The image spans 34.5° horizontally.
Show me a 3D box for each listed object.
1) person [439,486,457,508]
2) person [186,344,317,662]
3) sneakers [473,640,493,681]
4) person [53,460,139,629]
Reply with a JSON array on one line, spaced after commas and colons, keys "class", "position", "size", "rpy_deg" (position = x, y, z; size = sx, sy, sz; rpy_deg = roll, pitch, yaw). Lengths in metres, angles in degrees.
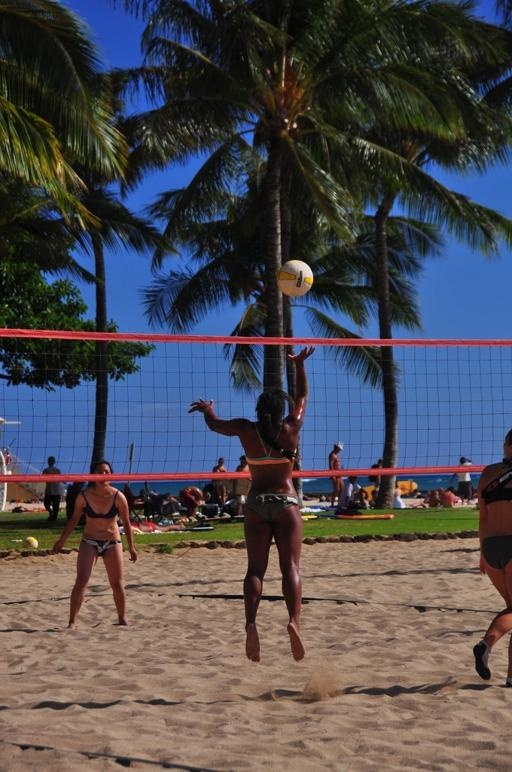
[{"class": "person", "position": [3.899, 2.342, 16.704], "size": [0.320, 0.410, 2.895], "rpy_deg": [1, -2, 13]}, {"class": "person", "position": [-0.013, 0.504, 3.636], "size": [0.520, 1.397, 0.764], "rpy_deg": [2, -1, 0]}, {"class": "sneakers", "position": [0.939, 1.141, 3.421], "size": [0.061, 0.168, 0.083], "rpy_deg": [1, -1, 15]}, {"class": "person", "position": [-1.054, 1.025, 5.488], "size": [0.555, 1.081, 1.236], "rpy_deg": [2, -2, -12]}]
